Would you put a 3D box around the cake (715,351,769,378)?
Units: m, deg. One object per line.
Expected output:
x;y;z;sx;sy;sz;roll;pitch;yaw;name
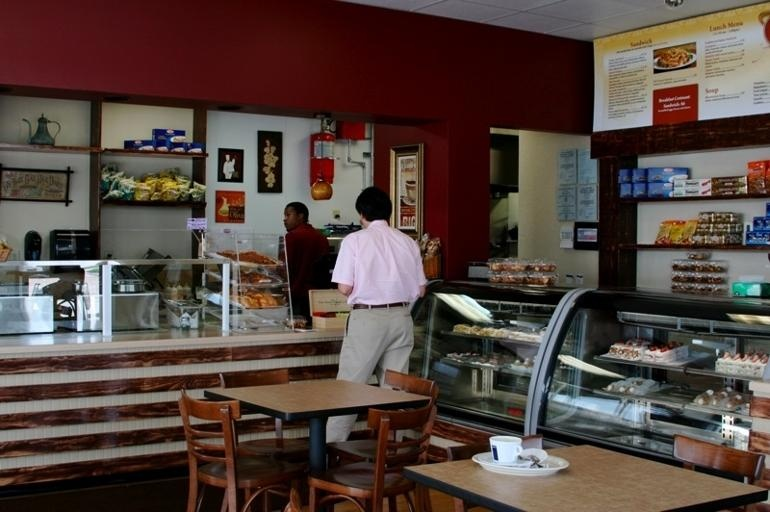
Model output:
2.051;0.627;3.232;0.167;0.061;0.205;-1;-1;-3;cake

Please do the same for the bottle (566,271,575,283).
1.984;0.225;5.994;0.097;0.133;0.100;1;6;0;bottle

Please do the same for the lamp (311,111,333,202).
-0.756;-1.198;6.916;0.343;0.997;1.045;-2;5;-6;lamp

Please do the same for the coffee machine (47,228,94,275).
-2.838;-0.046;5.088;0.478;0.367;0.308;1;-1;-15;coffee machine

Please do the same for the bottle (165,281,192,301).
-1.596;0.254;4.342;0.167;0.234;0.155;0;4;0;bottle

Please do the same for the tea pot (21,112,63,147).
-3.492;-1.290;5.722;0.354;0.255;0.232;-1;23;-27;tea pot

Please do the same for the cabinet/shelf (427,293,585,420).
0.949;0.725;4.521;0.587;0.653;1.097;3;0;-43;cabinet/shelf

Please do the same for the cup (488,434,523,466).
0.454;0.740;2.178;0.132;0.068;0.109;5;5;41;cup

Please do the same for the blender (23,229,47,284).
-3.750;-0.100;5.963;0.241;0.374;0.212;-7;22;-43;blender

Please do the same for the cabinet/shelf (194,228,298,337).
-1.200;0.174;4.603;0.864;0.689;0.472;-2;12;-43;cabinet/shelf

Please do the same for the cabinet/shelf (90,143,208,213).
-2.587;-0.824;6.282;1.062;0.510;0.470;-3;6;-20;cabinet/shelf

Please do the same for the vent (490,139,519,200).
1.960;-1.479;9.206;0.440;1.077;0.568;-1;5;9;vent
